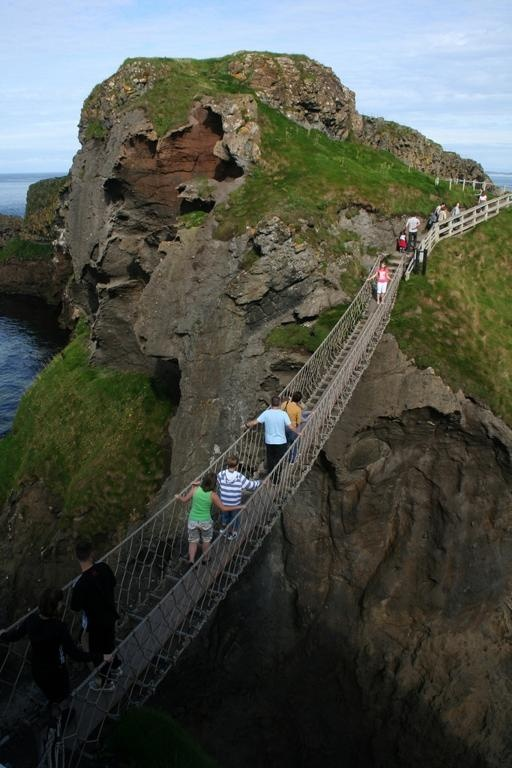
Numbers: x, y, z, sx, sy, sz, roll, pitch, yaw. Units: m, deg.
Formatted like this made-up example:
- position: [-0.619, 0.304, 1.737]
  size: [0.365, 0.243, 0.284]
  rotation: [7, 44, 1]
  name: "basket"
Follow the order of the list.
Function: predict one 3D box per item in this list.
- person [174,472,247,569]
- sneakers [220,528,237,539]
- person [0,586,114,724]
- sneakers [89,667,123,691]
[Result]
- position: [-0.826, 2.216, 9.030]
  size: [0.645, 2.034, 0.752]
  rotation: [-8, 27, -25]
  name: "person"
- position: [-0.453, 2.515, 9.378]
  size: [0.137, 0.179, 0.412]
  rotation: [0, -11, 4]
  name: "sneakers"
- position: [-2.210, 2.745, 5.842]
  size: [0.667, 1.789, 0.643]
  rotation: [10, 25, 13]
  name: "person"
- position: [-1.932, 3.813, 7.187]
  size: [0.235, 0.245, 0.428]
  rotation: [13, -12, 4]
  name: "sneakers"
